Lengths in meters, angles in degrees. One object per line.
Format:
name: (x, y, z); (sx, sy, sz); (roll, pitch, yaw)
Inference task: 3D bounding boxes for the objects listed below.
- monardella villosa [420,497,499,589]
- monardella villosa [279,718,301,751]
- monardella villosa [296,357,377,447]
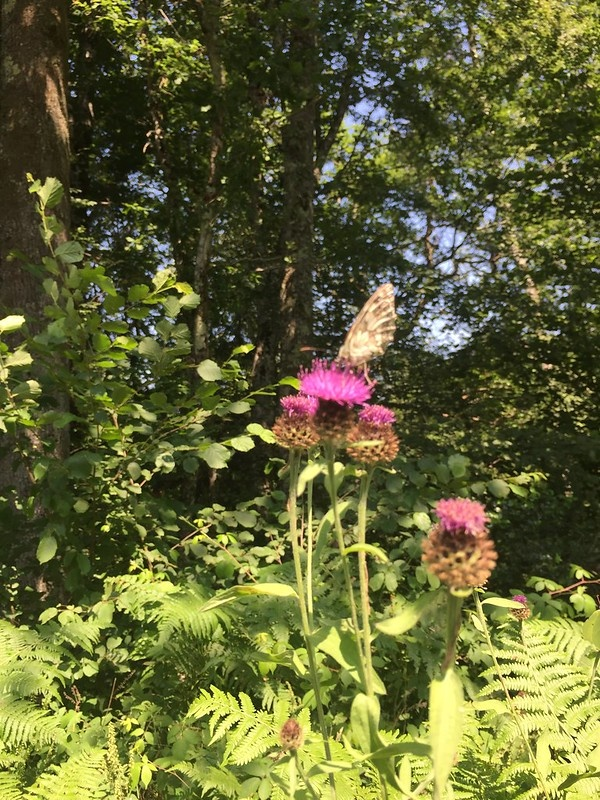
monardella villosa: (0.534, 0.494, 3.310); (0.242, 0.290, 0.260); (6, 2, 8)
monardella villosa: (-0.034, 1.215, 3.576); (0.103, 0.097, 0.066); (10, -7, -8)
monardella villosa: (0.078, 0.009, 3.881); (0.366, 0.312, 0.340); (5, -7, 32)
